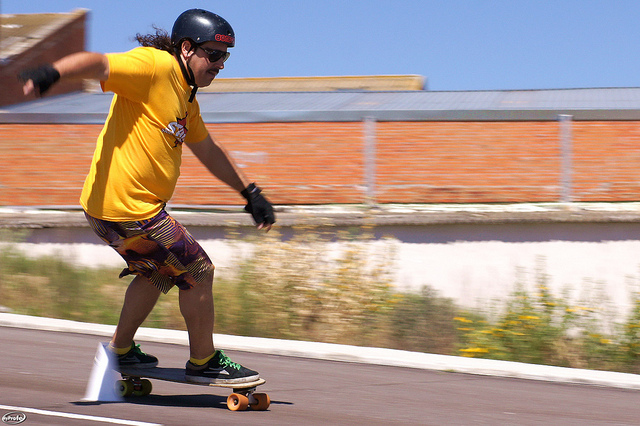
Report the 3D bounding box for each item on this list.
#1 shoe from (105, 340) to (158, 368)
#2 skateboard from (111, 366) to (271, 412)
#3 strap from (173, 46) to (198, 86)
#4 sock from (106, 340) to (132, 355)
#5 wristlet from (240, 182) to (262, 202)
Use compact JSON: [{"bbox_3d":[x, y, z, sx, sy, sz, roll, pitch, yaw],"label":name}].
[{"bbox_3d":[-1.715,1.271,7.594,0.192,0.200,0.569,-6,-9,43],"label":"shoe"},{"bbox_3d":[-1.194,1.476,7.571,1.505,0.228,0.470,5,-2,9],"label":"skateboard"},{"bbox_3d":[-1.144,-1.254,7.286,0.085,0.273,0.234,-24,-7,5],"label":"strap"},{"bbox_3d":[-1.770,1.177,7.509,0.188,0.054,0.142,-7,-8,44],"label":"sock"},{"bbox_3d":[-0.624,-0.187,7.662,0.164,0.129,0.071,45,1,-18],"label":"wristlet"}]
